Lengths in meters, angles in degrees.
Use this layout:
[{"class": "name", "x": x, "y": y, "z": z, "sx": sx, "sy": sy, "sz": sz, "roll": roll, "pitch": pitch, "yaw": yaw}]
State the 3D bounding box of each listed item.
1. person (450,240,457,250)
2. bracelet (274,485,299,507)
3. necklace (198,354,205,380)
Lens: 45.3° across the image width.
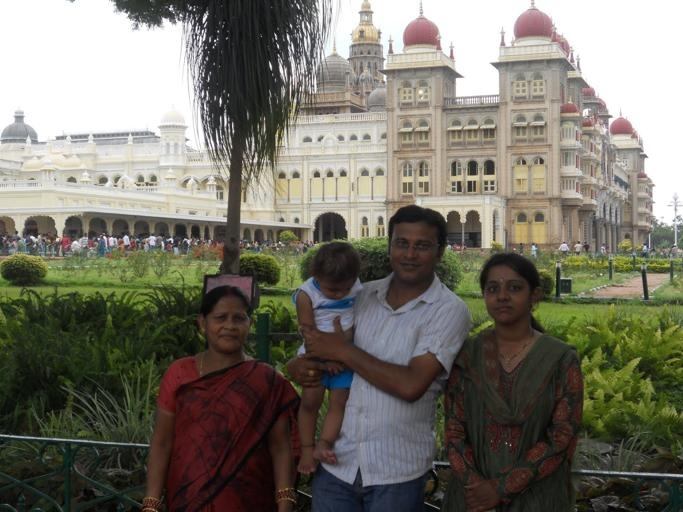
[{"class": "person", "x": 5.047, "y": -0.505, "z": 36.857, "sx": 0.170, "sy": 0.445, "sz": 0.761, "roll": -3, "pitch": -17, "yaw": 14}, {"class": "bracelet", "x": -0.234, "y": 1.045, "z": 3.532, "sx": 0.081, "sy": 0.054, "sz": 0.062, "roll": 12, "pitch": -13, "yaw": -38}, {"class": "necklace", "x": -0.604, "y": 0.473, "z": 3.537, "sx": 0.015, "sy": 0.076, "sz": 0.050, "roll": -2, "pitch": -5, "yaw": 11}]
